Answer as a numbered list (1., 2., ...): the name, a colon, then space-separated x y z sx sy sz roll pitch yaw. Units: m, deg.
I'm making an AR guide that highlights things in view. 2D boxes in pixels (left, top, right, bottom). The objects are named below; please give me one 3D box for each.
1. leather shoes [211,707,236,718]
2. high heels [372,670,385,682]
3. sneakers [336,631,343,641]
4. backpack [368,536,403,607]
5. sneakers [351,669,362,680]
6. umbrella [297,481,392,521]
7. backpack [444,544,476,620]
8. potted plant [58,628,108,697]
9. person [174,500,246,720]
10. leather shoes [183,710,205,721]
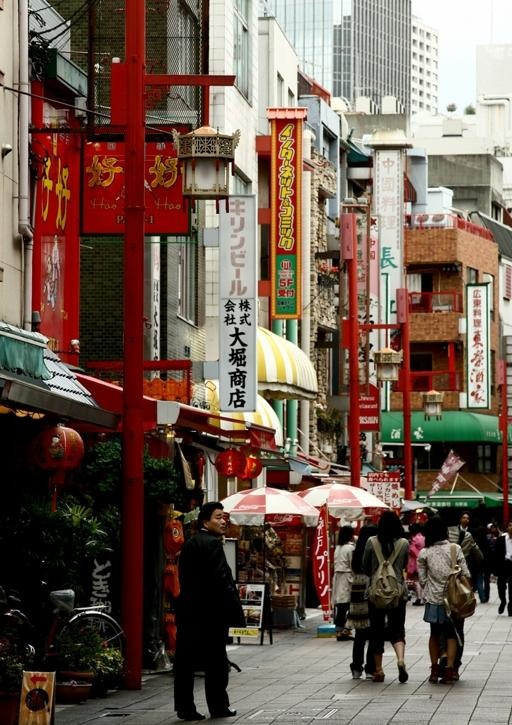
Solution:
1. leather shoes: -0.254 2.650 11.285 0.203 0.102 0.074 -5 3 -4
2. high heels: 1.144 2.916 13.882 0.060 0.077 0.180 1 -1 1
3. sneakers: 1.132 3.756 20.471 0.081 0.178 0.088 1 -1 21
4. backpack: 1.213 1.981 13.873 0.319 0.656 0.372 -5 -14 27
5. sneakers: 0.965 3.005 14.328 0.039 0.092 0.125 1 -12 -12
6. umbrella: 1.399 2.143 22.953 0.758 0.314 0.757 14 -9 -39
7. backpack: 1.866 2.033 13.738 0.210 0.726 0.358 -6 -5 38
8. potted plant: -1.493 2.498 12.368 0.397 0.554 0.441 2 -8 -18
9. person: -0.381 1.882 11.407 0.545 1.606 0.621 -2 -5 -5
10. leather shoes: -0.476 2.629 11.098 0.177 0.083 0.065 4 -12 4
